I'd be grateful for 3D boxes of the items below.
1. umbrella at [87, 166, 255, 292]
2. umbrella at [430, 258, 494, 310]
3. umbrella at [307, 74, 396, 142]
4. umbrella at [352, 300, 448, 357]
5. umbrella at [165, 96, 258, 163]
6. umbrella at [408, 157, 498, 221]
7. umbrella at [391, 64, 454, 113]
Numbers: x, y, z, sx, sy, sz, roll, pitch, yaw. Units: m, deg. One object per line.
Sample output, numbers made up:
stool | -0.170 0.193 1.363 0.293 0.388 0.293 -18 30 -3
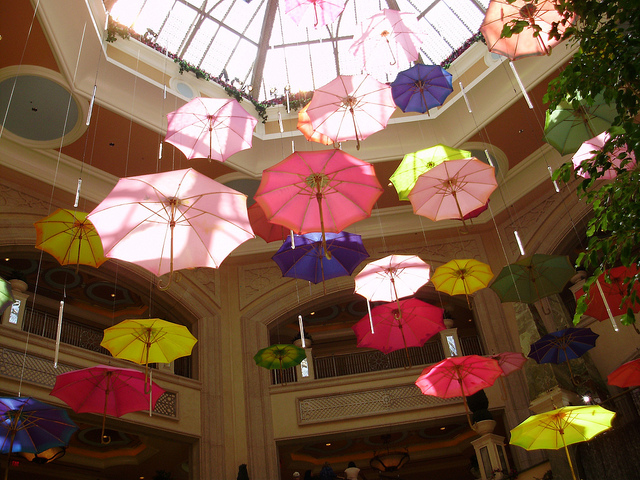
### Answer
umbrella | -2.604 -0.156 8.579 2.331 2.049 1.581 14 -62 -4
umbrella | 3.788 1.336 12.497 1.264 0.863 1.264 -17 8 -12
umbrella | 0.659 -3.210 11.614 1.934 1.507 1.569 -14 -63 1
umbrella | 2.083 2.195 13.324 2.582 1.136 2.233 -4 -43 -5
umbrella | -2.663 -2.687 12.138 1.557 1.737 0.947 1 -78 11
umbrella | 2.965 -0.958 10.711 1.869 1.085 1.511 -14 -32 15
umbrella | 2.630 -3.863 12.456 1.596 1.214 1.396 -10 -52 5
